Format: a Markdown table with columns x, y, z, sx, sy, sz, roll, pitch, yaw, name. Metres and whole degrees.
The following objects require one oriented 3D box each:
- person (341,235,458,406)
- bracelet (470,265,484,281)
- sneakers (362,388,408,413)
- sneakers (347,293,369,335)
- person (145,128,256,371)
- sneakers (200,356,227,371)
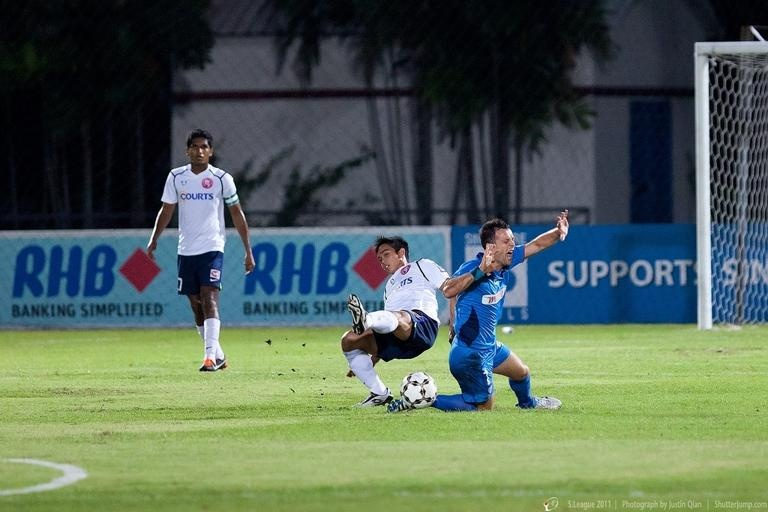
| x | y | z | sx | sy | sz | roll | pitch | yaw | name |
| --- | --- | --- | --- | --- | --- | --- | --- | --- | --- |
| 0.146 | 0.716 | 13.470 | 0.805 | 1.160 | 0.856 | 29 | -59 | -26 | person |
| 0.828 | 0.161 | 11.894 | 0.096 | 0.091 | 0.114 | -7 | -18 | -1 | bracelet |
| 0.009 | 1.321 | 12.056 | 0.476 | 0.202 | 0.160 | 7 | -13 | 6 | sneakers |
| -0.248 | 0.531 | 11.998 | 0.135 | 0.371 | 0.170 | -2 | 2 | 35 | sneakers |
| -1.910 | -0.067 | 14.032 | 1.026 | 2.519 | 0.634 | -2 | -2 | -7 | person |
| -1.768 | 1.137 | 13.812 | 0.103 | 0.128 | 0.283 | -2 | -7 | 24 | sneakers |
